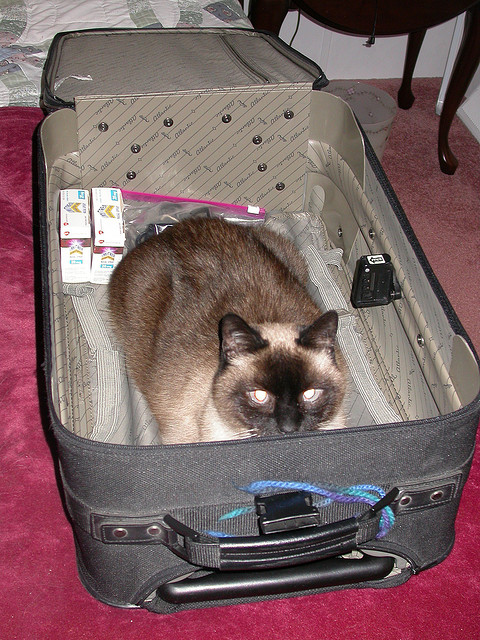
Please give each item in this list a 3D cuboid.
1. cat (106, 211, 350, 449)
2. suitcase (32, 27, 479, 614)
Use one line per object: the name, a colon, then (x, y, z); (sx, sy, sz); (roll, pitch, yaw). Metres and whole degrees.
cat: (-0.005, 0.026, 1.204); (0.433, 0.391, 0.578); (-5, 50, -18)
suitcase: (-0.081, -0.078, 1.387); (0.830, 0.521, 1.463); (-5, 45, -13)
